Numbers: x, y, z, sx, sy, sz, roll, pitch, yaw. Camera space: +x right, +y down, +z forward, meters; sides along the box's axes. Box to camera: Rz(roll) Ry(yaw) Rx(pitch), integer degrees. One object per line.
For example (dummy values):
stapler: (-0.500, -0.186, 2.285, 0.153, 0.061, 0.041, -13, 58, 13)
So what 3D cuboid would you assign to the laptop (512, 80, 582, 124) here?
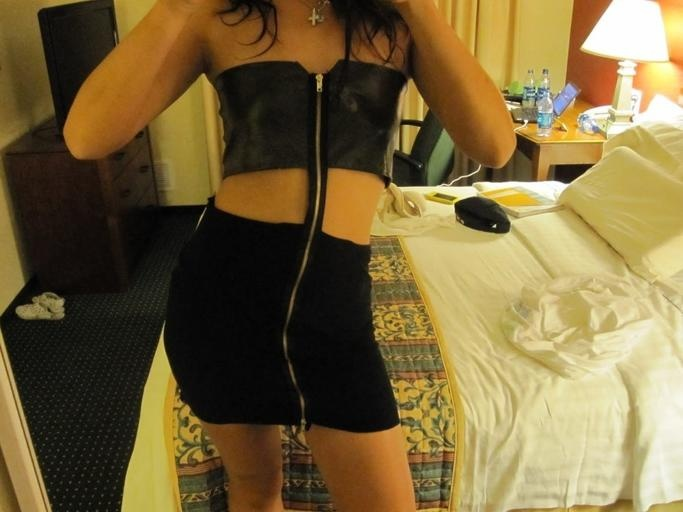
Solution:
laptop: (1.428, -1.092, 4.082, 0.379, 0.256, 0.415, 3, 35, -6)

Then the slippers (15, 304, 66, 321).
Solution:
slippers: (-1.803, 0.335, 3.420, 0.178, 0.072, 0.136, 5, 2, -24)

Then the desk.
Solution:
desk: (1.393, -0.975, 3.796, 0.486, 0.648, 0.690, -6, 35, 0)

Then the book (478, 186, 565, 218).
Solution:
book: (0.957, -0.294, 3.016, 0.241, 0.059, 0.243, -13, 29, -23)

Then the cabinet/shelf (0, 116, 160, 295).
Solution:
cabinet/shelf: (-1.561, -0.245, 3.304, 0.332, 0.653, 1.074, 1, 16, -1)

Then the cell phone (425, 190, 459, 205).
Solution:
cell phone: (0.551, -0.318, 3.117, 0.132, 0.033, 0.079, 10, 25, 21)

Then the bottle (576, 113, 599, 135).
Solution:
bottle: (1.632, -0.872, 3.799, 0.104, 0.082, 0.135, -25, 56, -41)
